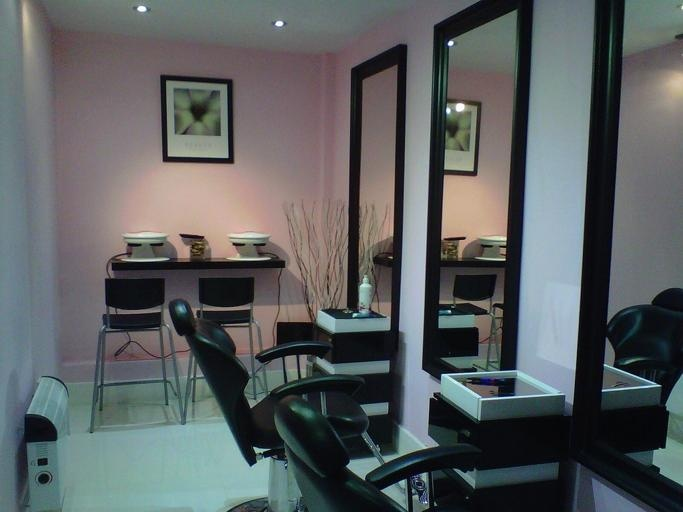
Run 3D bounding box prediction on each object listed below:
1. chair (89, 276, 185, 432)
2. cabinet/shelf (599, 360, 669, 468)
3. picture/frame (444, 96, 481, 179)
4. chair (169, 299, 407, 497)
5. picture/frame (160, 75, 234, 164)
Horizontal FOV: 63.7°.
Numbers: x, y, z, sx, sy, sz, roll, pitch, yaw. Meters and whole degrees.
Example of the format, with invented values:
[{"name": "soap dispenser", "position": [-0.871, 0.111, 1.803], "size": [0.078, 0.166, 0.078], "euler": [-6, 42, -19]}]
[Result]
[{"name": "chair", "position": [-1.715, 0.764, 4.518], "size": [0.698, 1.220, 0.513], "euler": [-1, 4, -27]}, {"name": "cabinet/shelf", "position": [1.250, 0.672, 2.368], "size": [0.279, 0.305, 0.410], "euler": [0, 3, -16]}, {"name": "picture/frame", "position": [0.726, -0.698, 3.242], "size": [0.022, 0.539, 0.443], "euler": [-3, 10, -22]}, {"name": "chair", "position": [-0.304, 0.673, 3.042], "size": [1.083, 1.017, 0.858], "euler": [-5, 6, -15]}, {"name": "picture/frame", "position": [-1.293, -1.217, 4.802], "size": [0.723, 0.899, 0.038], "euler": [-1, 3, -18]}]
